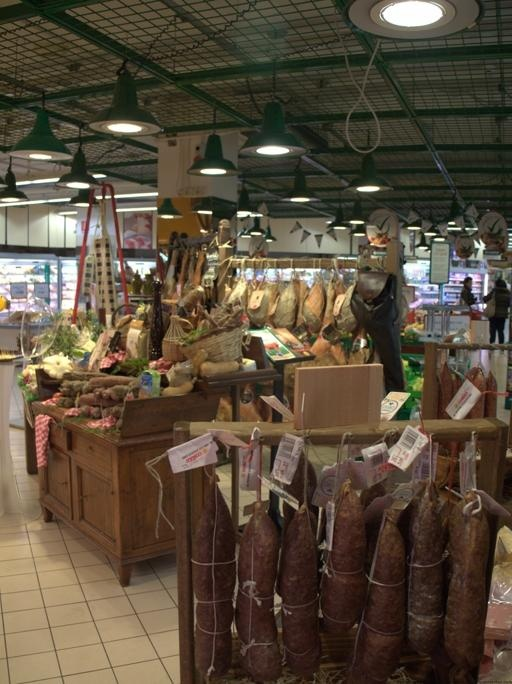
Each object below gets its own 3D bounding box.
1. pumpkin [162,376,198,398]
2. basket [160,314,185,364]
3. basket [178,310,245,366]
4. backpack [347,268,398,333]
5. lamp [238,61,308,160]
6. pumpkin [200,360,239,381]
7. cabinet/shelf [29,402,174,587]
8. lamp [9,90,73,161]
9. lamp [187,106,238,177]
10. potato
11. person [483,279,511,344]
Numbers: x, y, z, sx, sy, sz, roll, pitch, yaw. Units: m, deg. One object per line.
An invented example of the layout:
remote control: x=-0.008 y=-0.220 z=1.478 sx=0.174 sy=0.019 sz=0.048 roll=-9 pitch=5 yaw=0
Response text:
pumpkin: x=-0.441 y=0.272 z=3.103 sx=0.173 sy=0.072 sz=0.081 roll=-32 pitch=58 yaw=-13
basket: x=-0.512 y=-0.054 z=3.325 sx=0.161 sy=0.338 sz=0.154 roll=2 pitch=10 yaw=9
basket: x=-0.236 y=-0.033 z=3.134 sx=0.335 sy=0.299 sz=0.348 roll=1 pitch=3 yaw=14
backpack: x=0.925 y=-0.285 z=4.032 sx=0.313 sy=0.527 sz=0.390 roll=-30 pitch=32 yaw=-30
lamp: x=0.108 y=-1.682 z=3.905 sx=0.488 sy=0.491 sz=0.474 roll=-3 pitch=21 yaw=-5
pumpkin: x=-0.204 y=0.155 z=3.039 sx=0.190 sy=0.092 sz=0.067 roll=-4 pitch=-3 yaw=-28
cabinet/shelf: x=-1.000 y=0.951 z=3.712 sx=0.654 sy=0.870 sz=1.339 roll=-1 pitch=5 yaw=-42
lamp: x=-1.700 y=-1.658 z=4.302 sx=0.553 sy=0.588 sz=0.592 roll=0 pitch=4 yaw=-16
lamp: x=-0.441 y=-1.857 z=5.143 sx=0.436 sy=0.491 sz=0.610 roll=0 pitch=3 yaw=-15
potato: x=-1.052 y=0.356 z=3.421 sx=0.486 sy=0.143 sz=0.362 roll=9 pitch=10 yaw=44
person: x=5.547 y=-0.735 z=12.295 sx=0.566 sy=1.519 sz=1.131 roll=2 pitch=4 yaw=23
